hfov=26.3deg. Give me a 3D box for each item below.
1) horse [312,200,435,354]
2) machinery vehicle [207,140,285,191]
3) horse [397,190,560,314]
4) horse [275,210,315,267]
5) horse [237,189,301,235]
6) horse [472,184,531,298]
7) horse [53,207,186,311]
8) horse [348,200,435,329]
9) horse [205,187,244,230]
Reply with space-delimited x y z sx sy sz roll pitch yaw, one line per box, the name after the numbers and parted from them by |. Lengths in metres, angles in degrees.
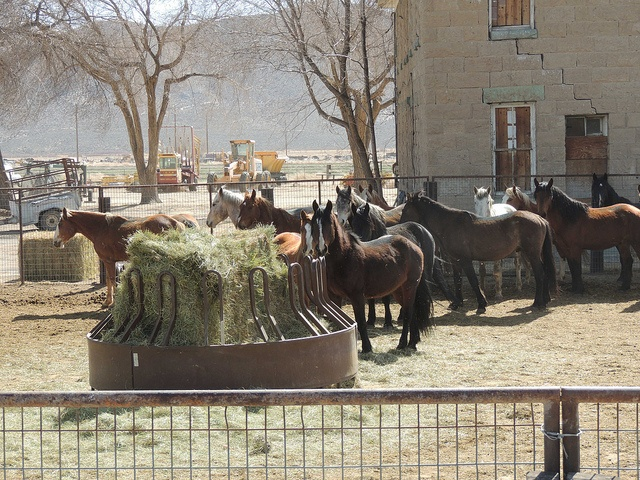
1.120 0.991 30.836 4.129 3.018 1.165 6 -3 -43 | horse
-3.972 -4.110 74.497 2.608 2.543 5.968 0 1 17 | machinery vehicle
4.164 0.317 35.069 3.424 3.024 3.997 10 15 25 | horse
-0.427 0.028 30.930 0.525 1.358 1.715 -2 5 -19 | horse
-1.224 -0.604 34.618 1.230 1.218 1.171 5 13 21 | horse
4.569 0.007 35.376 1.445 2.856 1.422 6 13 18 | horse
-4.874 0.428 34.298 3.527 2.545 0.942 -3 5 11 | horse
1.732 0.383 32.655 1.925 2.936 2.159 4 12 17 | horse
-2.491 -0.888 36.095 1.902 1.083 0.505 5 2 14 | horse
